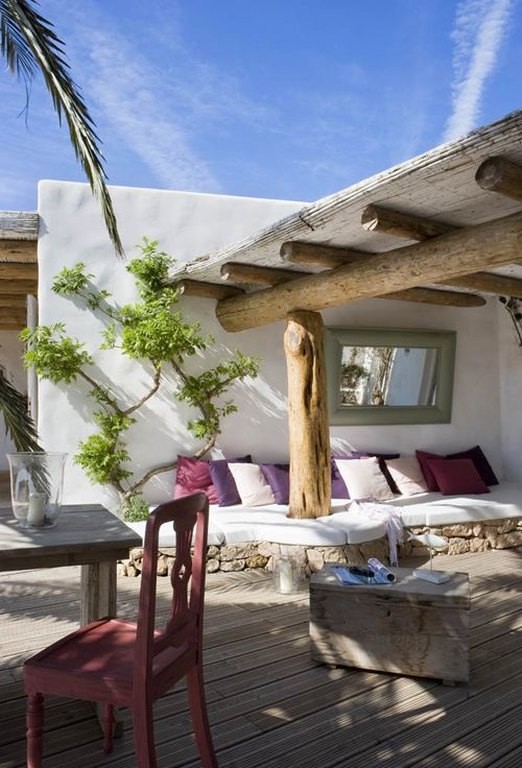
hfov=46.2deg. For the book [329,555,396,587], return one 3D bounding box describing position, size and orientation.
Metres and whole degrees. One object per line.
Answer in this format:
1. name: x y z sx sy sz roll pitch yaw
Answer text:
1. book: 0.521 0.978 3.195 0.321 0.070 0.282 3 1 -5
